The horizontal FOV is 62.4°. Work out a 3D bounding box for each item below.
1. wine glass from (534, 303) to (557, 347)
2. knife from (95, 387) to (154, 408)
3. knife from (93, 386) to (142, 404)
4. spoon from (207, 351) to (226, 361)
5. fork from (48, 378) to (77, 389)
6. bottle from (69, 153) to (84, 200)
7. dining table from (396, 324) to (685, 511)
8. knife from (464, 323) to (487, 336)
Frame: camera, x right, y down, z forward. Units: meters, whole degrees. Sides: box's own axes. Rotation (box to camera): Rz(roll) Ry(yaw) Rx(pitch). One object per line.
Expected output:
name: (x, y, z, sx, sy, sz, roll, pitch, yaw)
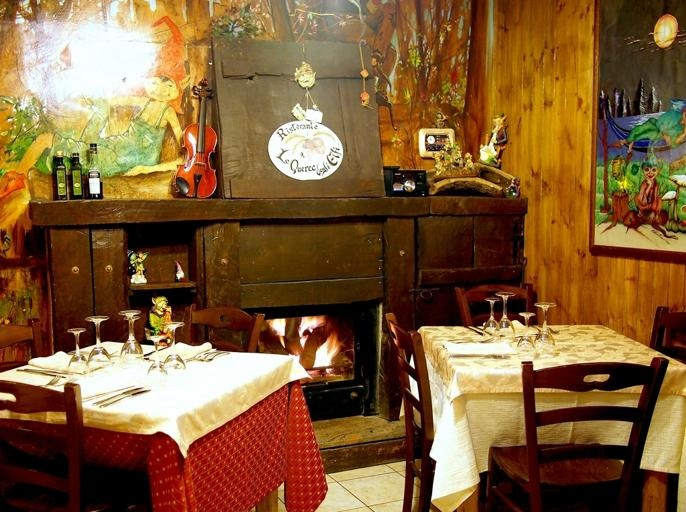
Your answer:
wine glass: (1.141, 0.389, 3.229, 0.149, 0.256, 0.147, 4, 4, 14)
knife: (-0.924, 0.584, 2.373, 0.062, 0.020, 0.239, 3, 9, 33)
knife: (-0.942, 0.566, 2.354, 0.055, 0.011, 0.206, 10, 10, 29)
spoon: (-0.655, 0.513, 2.932, 0.027, 0.014, 0.094, 2, 7, 14)
fork: (-1.212, 0.546, 2.439, 0.077, 0.030, 0.058, 8, 14, 19)
bottle: (-1.829, -0.548, 3.871, 0.091, 0.321, 0.396, -3, 6, -24)
dining table: (0.994, 0.727, 2.840, 0.971, 0.463, 0.997, 0, 5, -7)
knife: (0.810, 0.436, 3.432, 0.034, 0.027, 0.202, -2, 7, -10)
